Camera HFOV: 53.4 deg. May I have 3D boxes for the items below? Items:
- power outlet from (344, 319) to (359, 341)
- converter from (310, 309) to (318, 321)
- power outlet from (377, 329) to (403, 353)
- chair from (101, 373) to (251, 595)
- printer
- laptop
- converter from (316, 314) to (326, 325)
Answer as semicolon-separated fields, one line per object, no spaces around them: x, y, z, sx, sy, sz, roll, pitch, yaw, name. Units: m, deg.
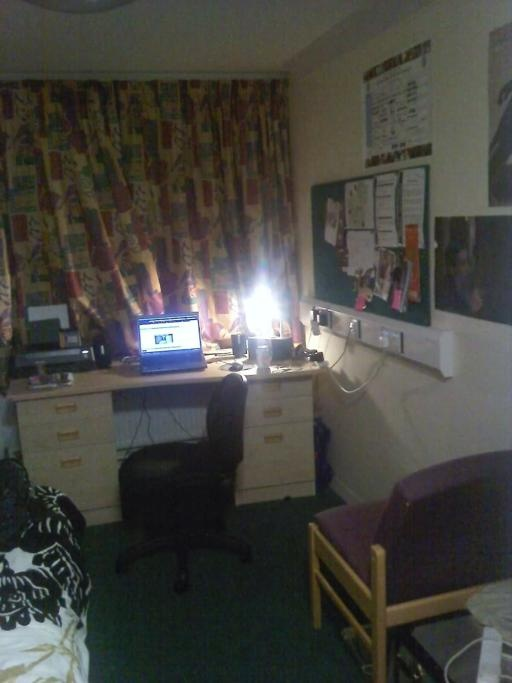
0.317;-0.030;1.680;0.039;0.105;0.047;0;2;-10;power outlet
0.213;-0.093;1.871;0.025;0.068;0.032;-2;3;-6;converter
0.387;-0.008;1.473;0.040;0.073;0.087;-2;7;-10;power outlet
-0.227;0.359;1.547;0.371;0.799;0.503;1;0;-13;chair
-0.714;0.012;1.823;0.248;0.287;0.156;-4;-14;-26;printer
-0.318;0.009;1.929;0.206;0.201;0.198;-4;9;-10;laptop
0.237;-0.080;1.849;0.023;0.061;0.027;-4;10;-20;converter
